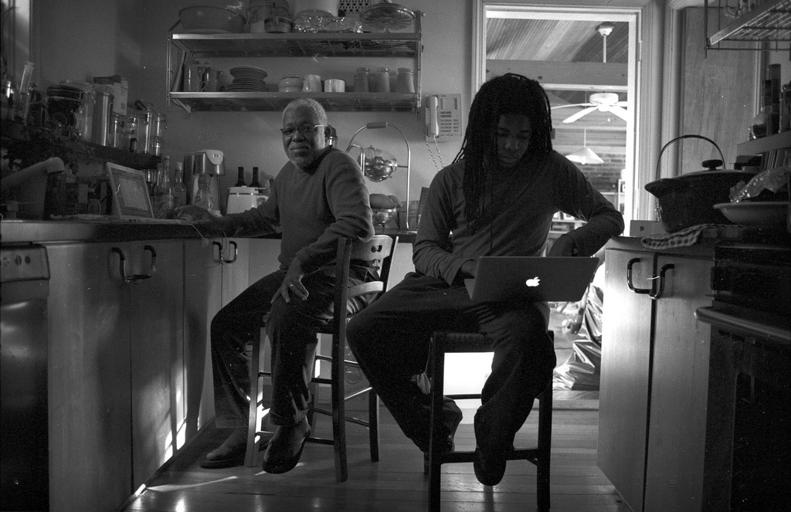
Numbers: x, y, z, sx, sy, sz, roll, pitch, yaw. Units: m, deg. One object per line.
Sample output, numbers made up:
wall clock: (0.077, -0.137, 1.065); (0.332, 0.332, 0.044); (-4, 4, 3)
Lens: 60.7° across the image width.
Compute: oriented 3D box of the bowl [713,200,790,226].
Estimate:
bowl: (1.134, -0.137, 2.141); (0.069, 0.087, 0.220); (-8, 14, -39)

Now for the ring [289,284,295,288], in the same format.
ring: (-0.458, 0.131, 2.953); (0.021, 0.014, 0.020); (0, 1, 0)

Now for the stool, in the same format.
stool: (0.372, 0.663, 2.754); (0.501, 0.810, 0.460); (2, 11, 3)

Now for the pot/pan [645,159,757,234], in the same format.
pot/pan: (1.176, -0.207, 2.659); (0.325, 0.236, 0.369); (0, -14, -42)

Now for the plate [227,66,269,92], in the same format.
plate: (-0.886, -1.034, 4.058); (0.188, 0.106, 0.183); (-2, 8, -26)

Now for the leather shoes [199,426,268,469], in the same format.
leather shoes: (-0.752, 0.894, 3.178); (0.144, 0.123, 0.311); (-4, -7, 40)

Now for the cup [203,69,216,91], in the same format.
cup: (-1.135, -1.070, 4.104); (0.064, 0.141, 0.089); (-9, 15, -41)

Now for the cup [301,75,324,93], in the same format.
cup: (-0.505, -1.034, 4.076); (0.146, 0.099, 0.105); (0, 5, 2)

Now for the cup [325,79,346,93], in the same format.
cup: (-0.365, -1.010, 4.076); (0.107, 0.060, 0.103); (0, 9, 0)

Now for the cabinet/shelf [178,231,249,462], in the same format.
cabinet/shelf: (-1.039, 0.331, 3.522); (0.339, 0.972, 0.200); (-6, -18, 32)

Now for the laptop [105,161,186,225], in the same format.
laptop: (-1.233, -0.271, 3.147); (0.307, 0.273, 0.226); (8, 30, 34)

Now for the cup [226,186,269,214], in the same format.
cup: (-0.897, -0.324, 4.144); (0.273, 0.213, 0.197); (1, 2, 5)

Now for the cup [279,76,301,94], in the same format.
cup: (-0.634, -1.030, 4.080); (0.124, 0.079, 0.119); (1, 5, 0)

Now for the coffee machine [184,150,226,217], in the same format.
coffee machine: (-1.222, -0.414, 4.254); (0.208, 0.485, 0.275); (1, 3, -44)

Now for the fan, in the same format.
fan: (1.999, -1.844, 6.509); (0.986, 0.821, 0.979); (-24, 29, -38)

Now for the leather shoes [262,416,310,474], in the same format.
leather shoes: (-0.486, 0.817, 3.046); (0.168, 0.133, 0.346); (6, 17, 13)
